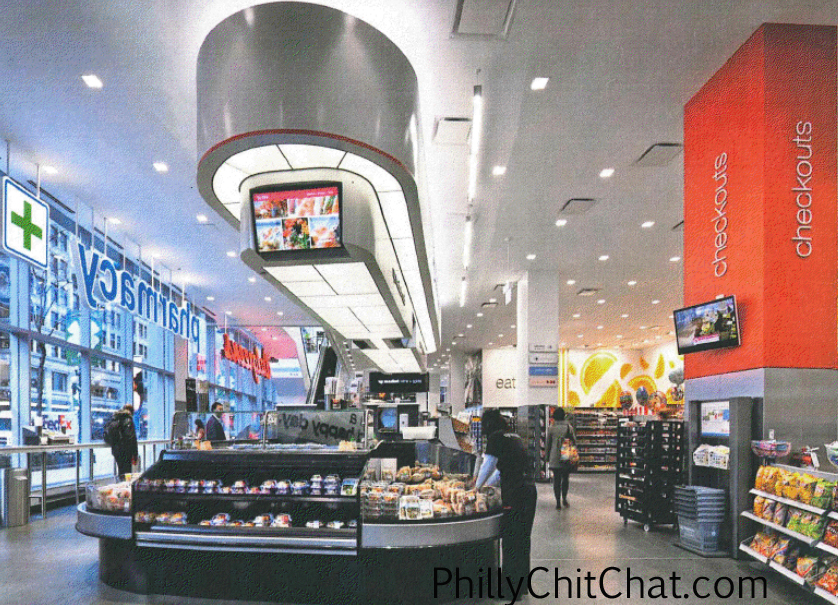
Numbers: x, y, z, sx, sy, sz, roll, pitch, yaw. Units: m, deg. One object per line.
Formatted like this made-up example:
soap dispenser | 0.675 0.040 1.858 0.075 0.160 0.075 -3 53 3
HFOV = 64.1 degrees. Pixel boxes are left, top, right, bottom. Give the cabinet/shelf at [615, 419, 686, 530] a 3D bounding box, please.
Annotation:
cabinet/shelf | 3.462 2.575 9.855 0.581 1.689 1.600 2 -9 -1

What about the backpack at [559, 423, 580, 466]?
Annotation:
backpack | 2.641 2.501 11.694 0.279 0.726 0.548 -3 -11 12

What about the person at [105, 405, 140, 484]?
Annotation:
person | -4.855 2.254 10.994 0.677 1.103 0.382 -8 -13 36

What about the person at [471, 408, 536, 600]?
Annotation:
person | 0.923 2.052 6.974 0.509 1.887 0.821 -9 -13 38
